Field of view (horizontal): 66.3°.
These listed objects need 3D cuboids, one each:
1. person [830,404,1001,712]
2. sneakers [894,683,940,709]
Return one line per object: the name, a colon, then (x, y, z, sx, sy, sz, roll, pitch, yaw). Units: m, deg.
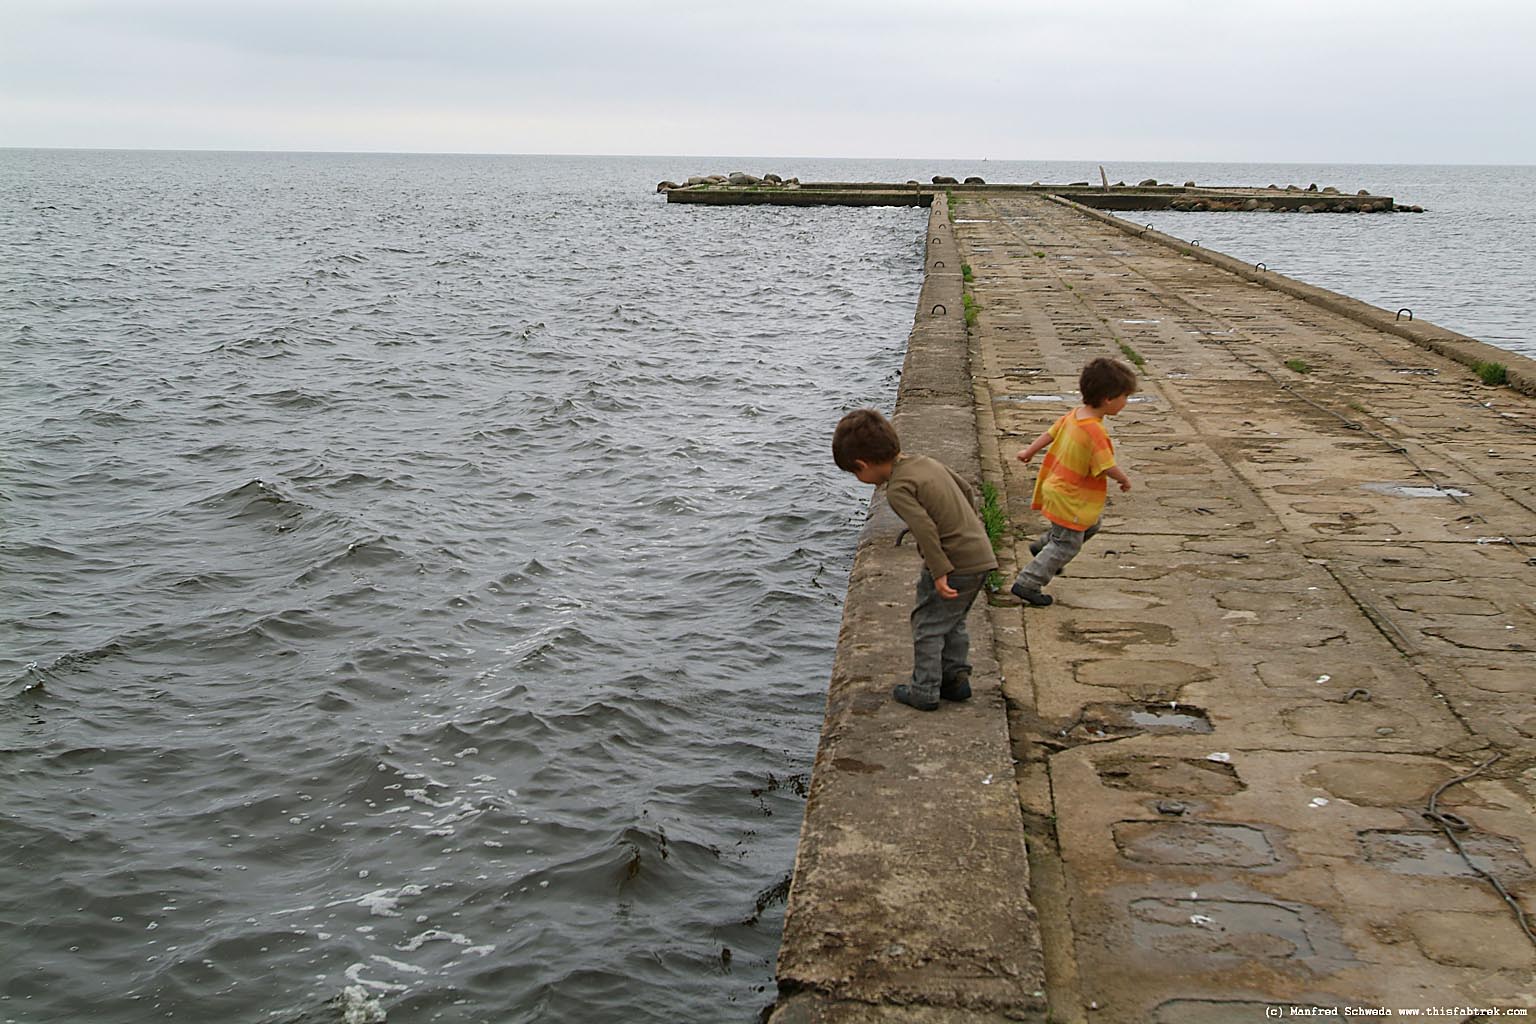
person: (0.777, 0.224, 6.077, 0.817, 1.572, 0.725, -3, 27, -4)
sneakers: (0.796, 0.952, 6.207, 0.114, 0.123, 0.256, -13, 22, -37)
